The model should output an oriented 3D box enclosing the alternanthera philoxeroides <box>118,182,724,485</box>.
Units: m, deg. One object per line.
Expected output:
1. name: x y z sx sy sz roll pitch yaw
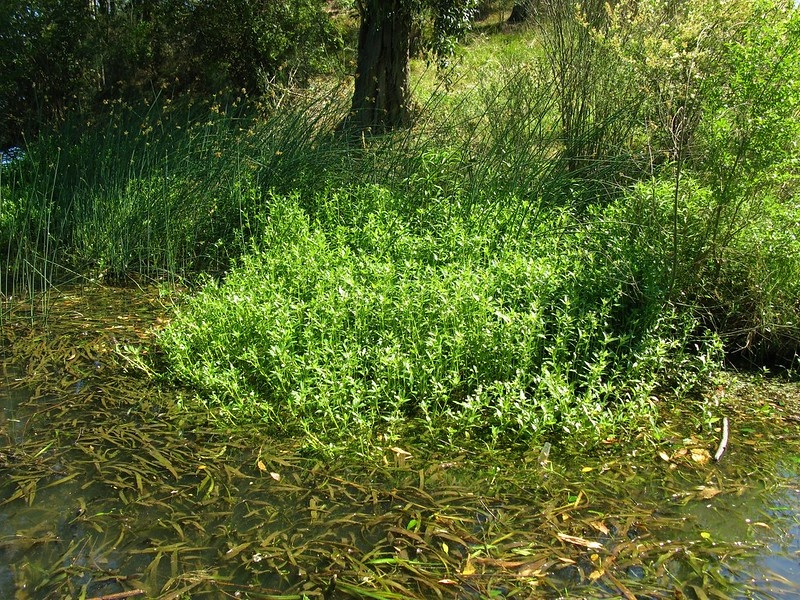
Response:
1. alternanthera philoxeroides: 0.250 0.175 4.786 2.163 1.431 3.078 6 10 25
